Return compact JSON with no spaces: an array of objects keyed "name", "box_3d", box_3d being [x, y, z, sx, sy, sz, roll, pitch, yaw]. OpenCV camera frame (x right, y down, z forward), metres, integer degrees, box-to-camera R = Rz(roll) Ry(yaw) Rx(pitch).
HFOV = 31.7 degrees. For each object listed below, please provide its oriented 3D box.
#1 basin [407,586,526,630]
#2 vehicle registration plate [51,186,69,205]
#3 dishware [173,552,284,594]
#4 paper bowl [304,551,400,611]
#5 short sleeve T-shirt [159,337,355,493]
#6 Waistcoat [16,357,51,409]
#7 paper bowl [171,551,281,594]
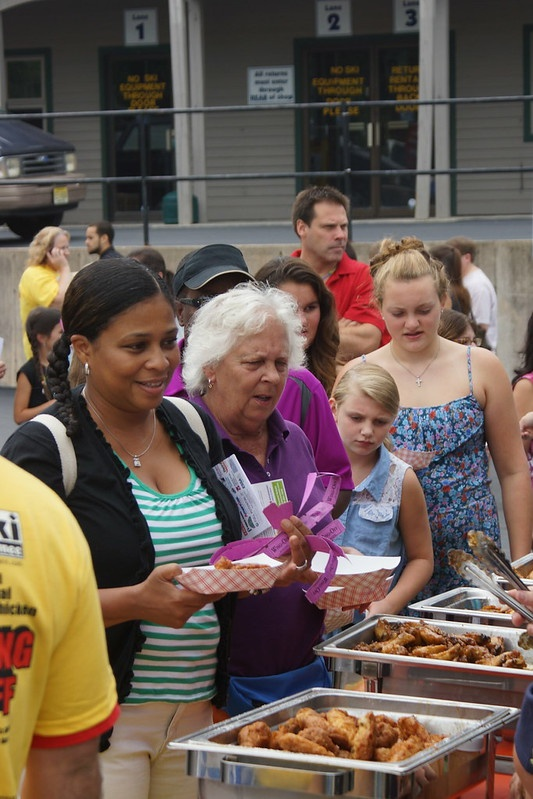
[{"name":"basin","box_3d":[0.639,0.683,3.077,0.291,0.089,0.215,-2,9,-2]},{"name":"vehicle registration plate","box_3d":[-3.028,-3.002,13.778,0.065,0.250,0.275,1,1,39]},{"name":"dishware","box_3d":[-0.075,0.381,2.038,0.182,0.053,0.103,-4,1,-3]},{"name":"paper bowl","box_3d":[0.230,0.485,2.463,0.183,0.162,0.205,10,6,29]},{"name":"short sleeve T-shirt","box_3d":[-0.038,0.055,2.715,0.548,0.376,0.227,14,4,-2]},{"name":"Waistcoat","box_3d":[-1.638,-0.107,6.613,0.229,0.365,0.395,0,7,0]},{"name":"paper bowl","box_3d":[-0.074,0.380,2.034,0.180,0.052,0.103,-3,2,1]}]
